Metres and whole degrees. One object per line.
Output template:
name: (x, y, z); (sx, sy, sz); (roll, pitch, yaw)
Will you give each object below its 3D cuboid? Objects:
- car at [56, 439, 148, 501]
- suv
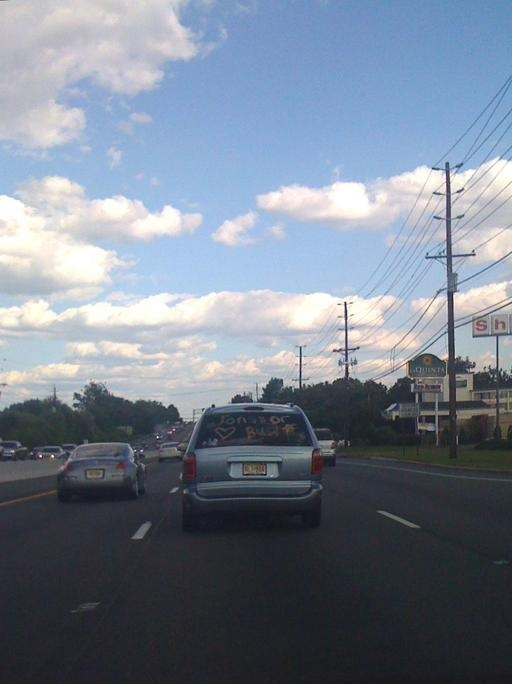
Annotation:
car: (-3.268, 2.777, 15.146); (1.440, 1.201, 2.051); (-3, -6, 13)
suv: (-0.048, 1.618, 10.319); (1.312, 1.485, 2.634); (0, -2, -1)
